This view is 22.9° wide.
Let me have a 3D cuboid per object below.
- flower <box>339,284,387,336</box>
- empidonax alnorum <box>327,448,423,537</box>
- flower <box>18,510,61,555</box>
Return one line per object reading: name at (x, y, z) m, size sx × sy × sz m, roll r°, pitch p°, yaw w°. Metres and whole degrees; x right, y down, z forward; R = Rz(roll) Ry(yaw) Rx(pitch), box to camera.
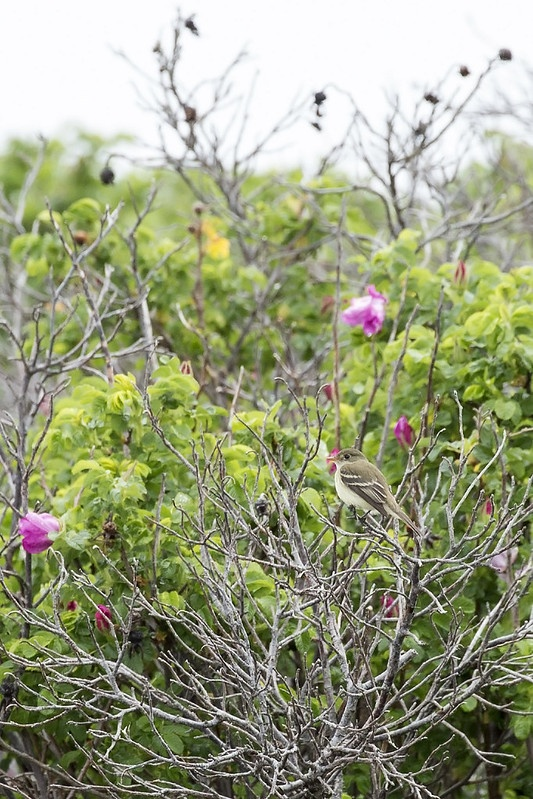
flower at (0.469, -0.420, 6.097) m, size 0.200 × 0.229 × 0.124 m, roll 1°, pitch -26°, yaw 37°
empidonax alnorum at (0.436, 0.368, 5.207) m, size 0.484 × 0.225 × 0.173 m, roll 24°, pitch 2°, yaw 35°
flower at (-0.931, 0.553, 5.407) m, size 0.081 × 0.168 × 0.160 m, roll 5°, pitch -28°, yaw -27°
